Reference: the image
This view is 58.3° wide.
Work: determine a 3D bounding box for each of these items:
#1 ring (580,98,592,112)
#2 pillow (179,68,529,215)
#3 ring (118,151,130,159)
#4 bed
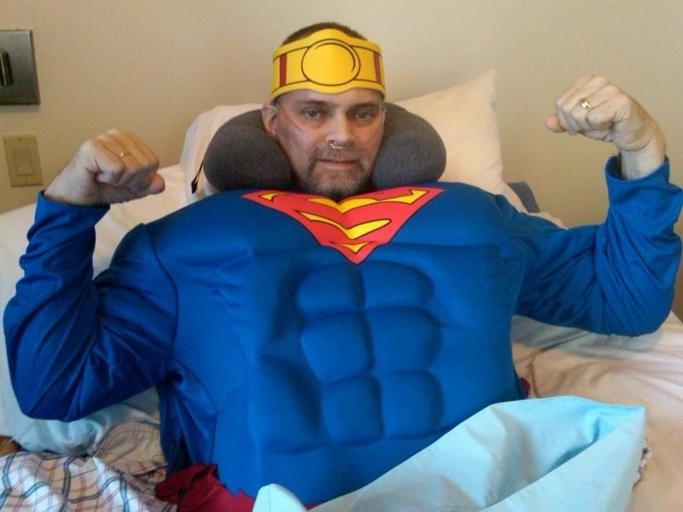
[{"bbox_3d":[0.577,-0.358,1.452,0.019,0.028,0.010,-28,-8,17],"label":"ring"},{"bbox_3d":[0.174,-0.421,2.167,0.701,0.758,0.223,-5,-31,-5],"label":"pillow"},{"bbox_3d":[-0.483,-0.221,1.361,0.016,0.016,0.004,8,-18,-29],"label":"ring"},{"bbox_3d":[-0.081,-0.052,1.463,1.417,0.993,0.595,-4,-34,-5],"label":"bed"}]
